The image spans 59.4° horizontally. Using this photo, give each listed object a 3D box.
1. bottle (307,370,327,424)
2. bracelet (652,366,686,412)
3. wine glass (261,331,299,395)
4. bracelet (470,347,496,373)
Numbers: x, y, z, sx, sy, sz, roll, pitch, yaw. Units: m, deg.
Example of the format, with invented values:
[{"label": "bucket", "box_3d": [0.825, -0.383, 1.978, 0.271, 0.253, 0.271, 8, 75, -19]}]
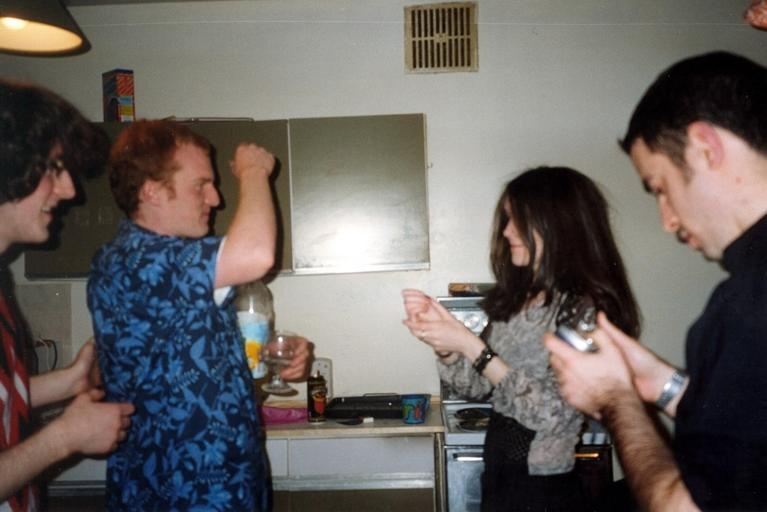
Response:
[{"label": "bottle", "box_3d": [-0.185, 0.399, 1.881, 0.056, 0.129, 0.051, 4, -16, -21]}, {"label": "bracelet", "box_3d": [0.562, 0.256, 1.307, 0.021, 0.074, 0.080, 38, 23, 7]}, {"label": "wine glass", "box_3d": [-0.242, 0.241, 1.565, 0.089, 0.133, 0.093, 2, 5, -20]}, {"label": "bracelet", "box_3d": [0.254, 0.265, 1.788, 0.042, 0.063, 0.065, 39, 43, 18]}]
